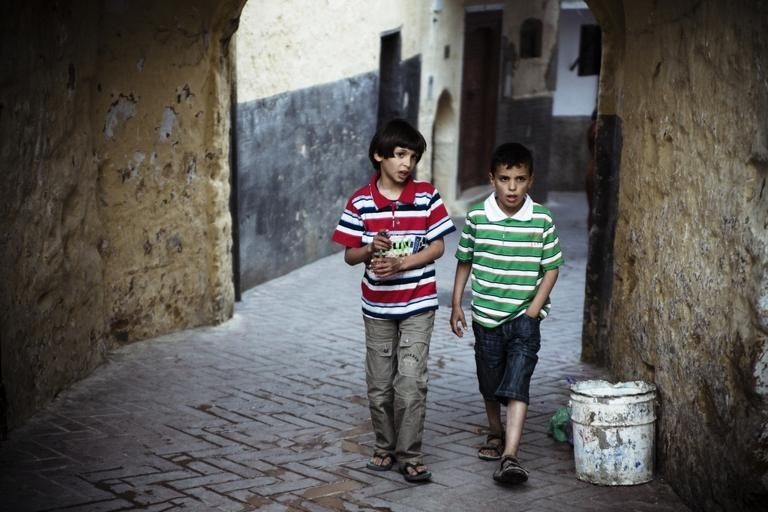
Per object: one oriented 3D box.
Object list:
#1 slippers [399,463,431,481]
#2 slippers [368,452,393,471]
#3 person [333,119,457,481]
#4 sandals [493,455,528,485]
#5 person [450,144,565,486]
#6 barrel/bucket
[{"bbox_3d":[0.215,1.510,6.584,0.102,0.079,0.208,0,-5,-26],"label":"slippers"},{"bbox_3d":[-0.034,1.472,6.757,0.092,0.074,0.184,-1,-6,31],"label":"slippers"},{"bbox_3d":[0.019,0.313,6.595,0.790,2.436,0.653,2,14,2],"label":"person"},{"bbox_3d":[0.845,1.478,6.506,0.143,0.131,0.278,3,-23,-3],"label":"sandals"},{"bbox_3d":[0.866,0.391,6.696,0.740,2.306,1.000,-4,15,-19],"label":"person"},{"bbox_3d":[1.625,1.260,6.773,0.564,0.645,0.583,-2,2,0],"label":"barrel/bucket"}]
